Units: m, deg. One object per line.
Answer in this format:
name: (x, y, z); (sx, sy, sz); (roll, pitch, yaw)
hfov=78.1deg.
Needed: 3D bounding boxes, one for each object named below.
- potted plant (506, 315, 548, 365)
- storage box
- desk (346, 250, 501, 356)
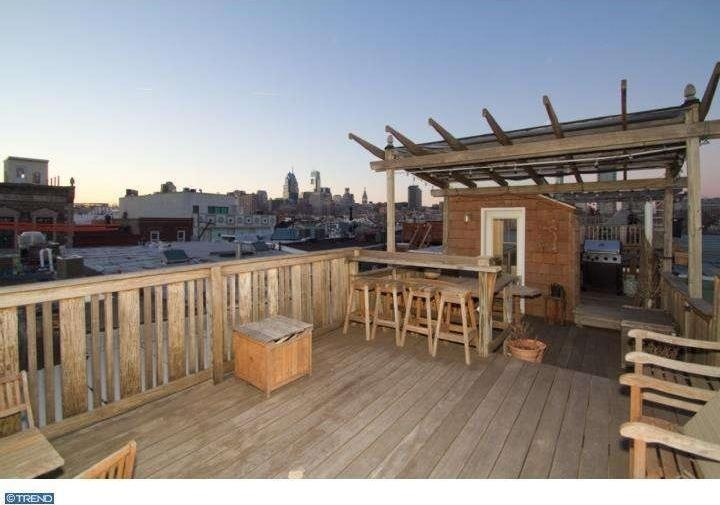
potted plant: (2.837, 1.623, 7.704); (0.832, 0.348, 0.988); (2, 11, 15)
storage box: (-1.260, 1.436, 6.400); (1.014, 0.886, 1.034); (9, 12, 36)
desk: (1.012, 0.904, 7.452); (1.809, 1.061, 0.481); (6, 17, 30)
